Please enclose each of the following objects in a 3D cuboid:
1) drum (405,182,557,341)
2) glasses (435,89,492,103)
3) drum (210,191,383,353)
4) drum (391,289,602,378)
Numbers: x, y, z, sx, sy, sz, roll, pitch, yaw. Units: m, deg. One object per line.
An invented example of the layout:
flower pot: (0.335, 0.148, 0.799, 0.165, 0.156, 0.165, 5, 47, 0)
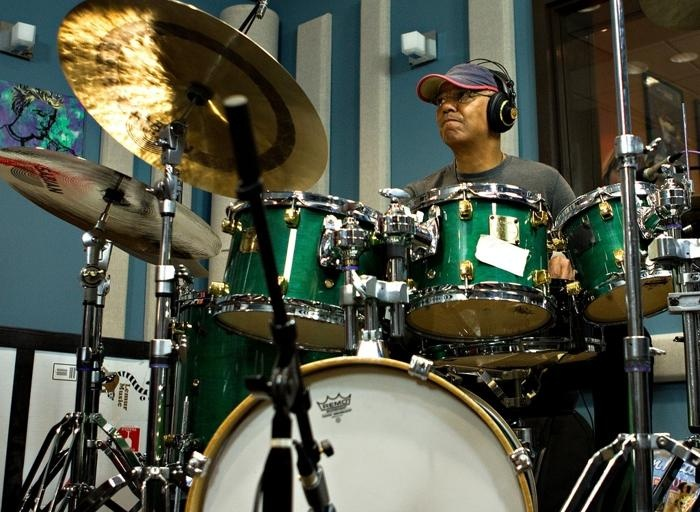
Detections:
drum: (0.418, 0.038, 3.091, 0.481, 0.363, 0.489, 1, -33, 1)
glasses: (0.453, -0.647, 3.680, 0.085, 0.027, 0.110, -7, -12, 44)
drum: (-0.196, 0.008, 3.181, 0.558, 0.409, 0.557, 15, -19, 5)
drum: (0.582, 0.318, 3.208, 0.427, 0.142, 0.430, -1, -24, -1)
